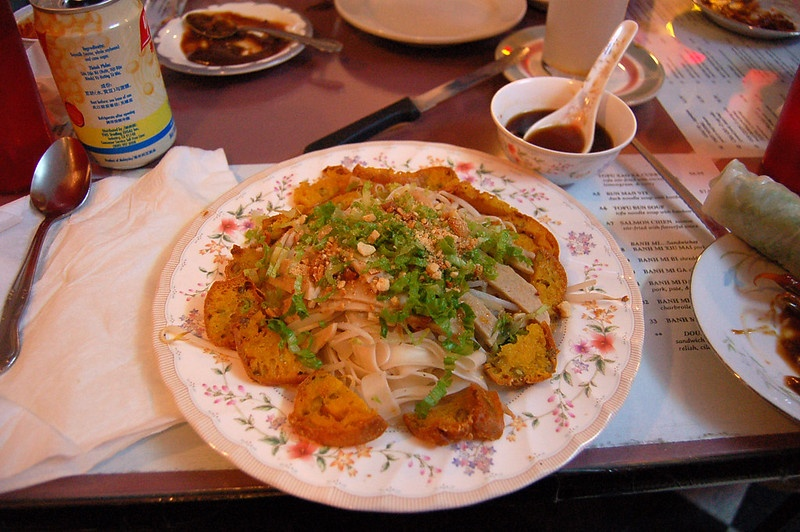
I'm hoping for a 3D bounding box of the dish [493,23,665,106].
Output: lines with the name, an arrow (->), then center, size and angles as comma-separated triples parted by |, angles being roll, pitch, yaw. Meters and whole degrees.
dish -> 1.060, -1.047, 3.308 | 0.906, 0.920, 0.158 | 2, 89, 41
